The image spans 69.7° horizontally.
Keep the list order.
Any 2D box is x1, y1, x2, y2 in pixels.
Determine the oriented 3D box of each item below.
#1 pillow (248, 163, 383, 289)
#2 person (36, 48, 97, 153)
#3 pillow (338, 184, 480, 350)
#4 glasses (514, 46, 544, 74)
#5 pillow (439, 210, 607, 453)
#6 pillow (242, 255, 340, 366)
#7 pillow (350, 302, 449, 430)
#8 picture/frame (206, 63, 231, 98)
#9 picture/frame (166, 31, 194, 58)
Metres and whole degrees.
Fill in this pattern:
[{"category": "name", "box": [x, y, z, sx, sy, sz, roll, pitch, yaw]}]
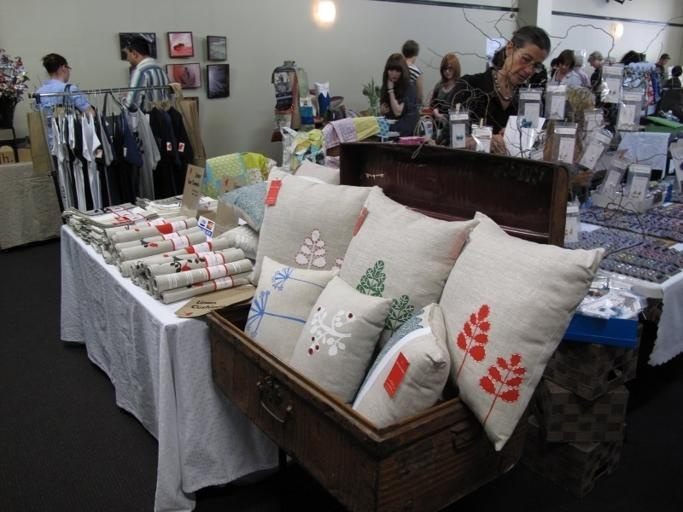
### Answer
[{"category": "pillow", "box": [-0.184, -0.101, 2.377, 0.569, 0.538, 0.323, 7, 43, -23]}, {"category": "person", "box": [-2.835, -1.477, 4.978, 0.560, 1.176, 0.411, -1, 38, -22]}, {"category": "pillow", "box": [0.203, 0.057, 2.053, 0.533, 0.540, 0.304, 28, 48, 31]}, {"category": "glasses", "box": [1.049, -1.101, 2.752, 0.096, 0.068, 0.139, -9, 56, -3]}, {"category": "pillow", "box": [0.569, 0.247, 1.784, 0.331, 0.621, 0.622, -8, 18, -16]}, {"category": "pillow", "box": [-0.192, 0.234, 2.017, 0.366, 0.458, 0.168, -1, -25, 46]}, {"category": "pillow", "box": [0.192, 0.419, 1.732, 0.277, 0.467, 0.503, 11, -26, -21]}, {"category": "picture/frame", "box": [-1.646, -2.347, 6.531, 0.379, 0.360, 0.052, -17, 22, -36]}, {"category": "picture/frame", "box": [-2.040, -2.667, 6.183, 0.304, 0.317, 0.040, -12, 16, -40]}]
